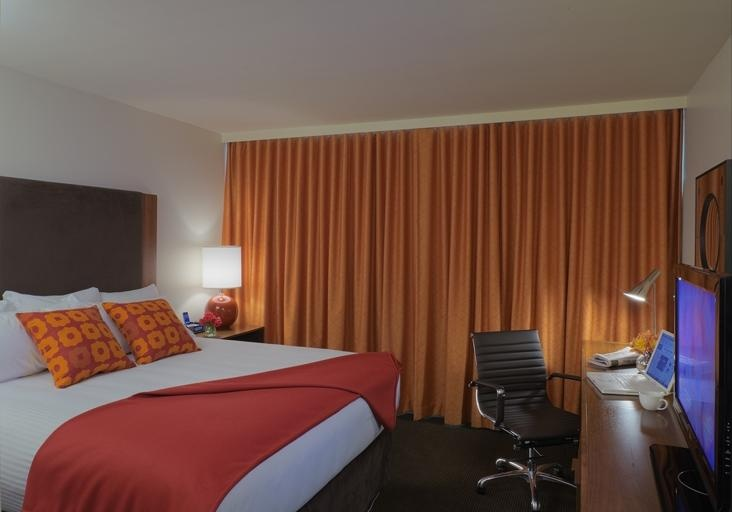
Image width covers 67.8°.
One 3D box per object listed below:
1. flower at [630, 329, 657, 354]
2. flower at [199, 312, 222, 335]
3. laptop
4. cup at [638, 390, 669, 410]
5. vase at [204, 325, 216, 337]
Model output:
[{"bbox_3d":[1.994,0.615,3.921,0.165,0.110,0.176,2,0,28],"label":"flower"},{"bbox_3d":[-1.498,0.650,5.270,0.187,0.209,0.199,-1,-5,15],"label":"flower"},{"bbox_3d":[1.706,0.630,3.506,0.376,0.300,0.465,-2,-5,10],"label":"laptop"},{"bbox_3d":[1.657,0.841,3.148,0.103,0.071,0.135,3,-3,-24],"label":"cup"},{"bbox_3d":[-1.489,0.718,5.235,0.095,0.098,0.094,-2,4,-40],"label":"vase"}]
